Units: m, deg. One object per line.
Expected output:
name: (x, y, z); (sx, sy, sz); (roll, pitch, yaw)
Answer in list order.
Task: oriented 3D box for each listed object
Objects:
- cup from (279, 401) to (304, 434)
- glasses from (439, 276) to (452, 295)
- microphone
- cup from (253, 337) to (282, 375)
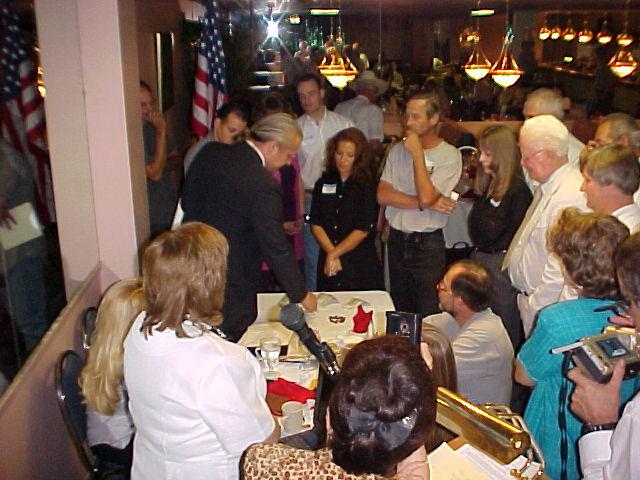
cup: (-0.117, 0.742, 2.216); (0.073, 0.109, 0.116); (5, 12, 21)
glasses: (0.718, 0.265, 3.032); (0.076, 0.079, 0.063); (-8, 38, 15)
microphone: (-0.012, 0.393, 1.992); (0.094, 0.362, 0.094); (-14, 37, 37)
cup: (-0.253, 0.592, 2.639); (0.095, 0.153, 0.148); (2, -5, 17)
